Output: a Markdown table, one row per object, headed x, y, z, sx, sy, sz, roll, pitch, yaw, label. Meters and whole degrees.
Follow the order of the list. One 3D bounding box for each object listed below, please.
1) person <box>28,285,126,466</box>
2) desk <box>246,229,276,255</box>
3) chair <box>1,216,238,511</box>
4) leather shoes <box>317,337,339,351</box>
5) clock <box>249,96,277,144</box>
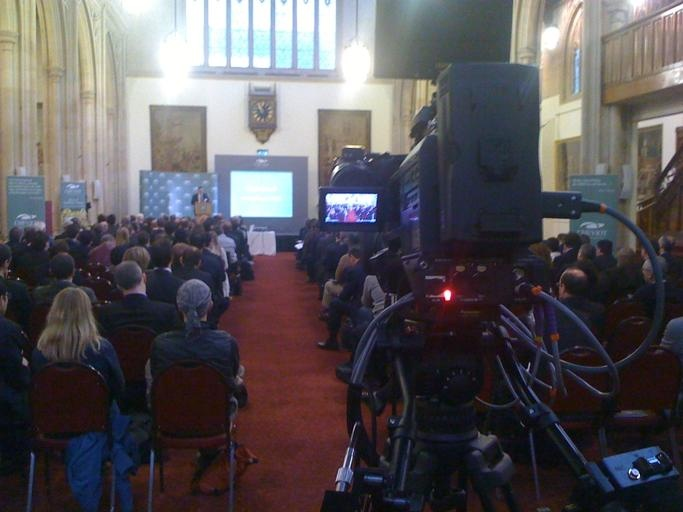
| x | y | z | sx | sy | sz | roll | pitch | yaw | label |
| --- | --- | --- | --- | --- | --- | --- | --- | --- | --- |
| -1.614 | 0.706 | 3.861 | 0.515 | 1.012 | 0.356 | -4 | 7 | -30 | person |
| -2.452 | -0.414 | 19.220 | 0.710 | 0.539 | 0.752 | -1 | 5 | -8 | desk |
| -1.432 | 0.894 | 4.350 | 1.150 | 2.335 | 1.327 | 1 | 12 | -9 | chair |
| -0.156 | 1.089 | 7.807 | 0.276 | 0.218 | 0.121 | 5 | 4 | 15 | leather shoes |
| -2.773 | -4.856 | 22.085 | 0.973 | 1.908 | 0.219 | -1 | -11 | -4 | clock |
